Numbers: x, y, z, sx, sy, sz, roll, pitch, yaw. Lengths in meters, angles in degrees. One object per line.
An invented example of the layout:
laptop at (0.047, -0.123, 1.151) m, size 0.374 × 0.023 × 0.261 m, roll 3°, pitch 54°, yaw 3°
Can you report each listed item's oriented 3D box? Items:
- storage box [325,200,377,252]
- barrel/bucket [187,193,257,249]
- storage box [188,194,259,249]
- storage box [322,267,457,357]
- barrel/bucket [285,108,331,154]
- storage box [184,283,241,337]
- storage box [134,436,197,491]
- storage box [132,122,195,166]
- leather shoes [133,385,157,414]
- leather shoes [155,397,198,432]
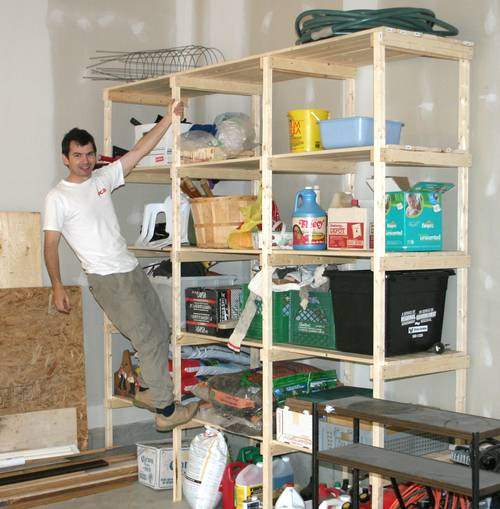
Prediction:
storage box at (0.409, -0.117, 2.625) m, size 0.214 × 0.170 × 0.202 m, roll 5°, pitch 9°, yaw 40°
barrel/bucket at (-0.173, -0.188, 3.321) m, size 0.346 × 0.193 × 0.315 m, roll 2°, pitch 6°, yaw 26°
storage box at (-0.147, -0.182, 3.323) m, size 0.352 × 0.194 × 0.312 m, roll 0°, pitch 6°, yaw 9°
storage box at (0.620, 0.232, 2.722) m, size 0.473 × 0.294 × 0.394 m, roll -2°, pitch 2°, yaw -39°
barrel/bucket at (0.252, -0.566, 2.805) m, size 0.231 × 0.152 × 0.206 m, roll -5°, pitch 8°, yaw -28°
storage box at (-0.244, 0.314, 3.494) m, size 0.267 × 0.266 × 0.452 m, roll 2°, pitch 4°, yaw 40°
storage box at (-0.511, 1.255, 3.769) m, size 0.320 × 0.257 × 0.305 m, roll 1°, pitch -3°, yaw -31°
storage box at (-0.582, -0.658, 3.860) m, size 0.362 × 0.292 × 0.373 m, roll -8°, pitch 11°, yaw -43°
leather shoes at (-0.591, 0.786, 3.384) m, size 0.063 × 0.141 × 0.222 m, roll 2°, pitch 6°, yaw -38°
leather shoes at (-0.396, 0.872, 3.431) m, size 0.300 × 0.122 × 0.111 m, roll -23°, pitch 31°, yaw -37°
